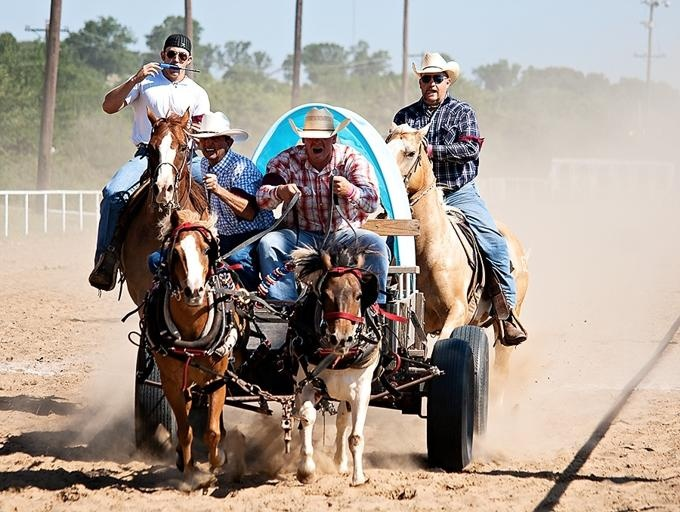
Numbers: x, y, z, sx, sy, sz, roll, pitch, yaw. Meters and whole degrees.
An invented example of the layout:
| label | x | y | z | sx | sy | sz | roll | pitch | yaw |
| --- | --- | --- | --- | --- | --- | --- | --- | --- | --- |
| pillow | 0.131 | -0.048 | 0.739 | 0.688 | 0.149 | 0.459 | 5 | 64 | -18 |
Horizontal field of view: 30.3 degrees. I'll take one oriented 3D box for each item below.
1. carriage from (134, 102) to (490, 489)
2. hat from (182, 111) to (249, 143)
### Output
| label | x | y | z | sx | sy | sz | roll | pitch | yaw |
| --- | --- | --- | --- | --- | --- | --- | --- | --- | --- |
| carriage | -0.145 | 0.894 | 17.804 | 3.991 | 4.982 | 4.763 | 0 | -27 | 5 |
| hat | -1.604 | -1.673 | 16.384 | 0.426 | 0.218 | 0.510 | -4 | -8 | 21 |
